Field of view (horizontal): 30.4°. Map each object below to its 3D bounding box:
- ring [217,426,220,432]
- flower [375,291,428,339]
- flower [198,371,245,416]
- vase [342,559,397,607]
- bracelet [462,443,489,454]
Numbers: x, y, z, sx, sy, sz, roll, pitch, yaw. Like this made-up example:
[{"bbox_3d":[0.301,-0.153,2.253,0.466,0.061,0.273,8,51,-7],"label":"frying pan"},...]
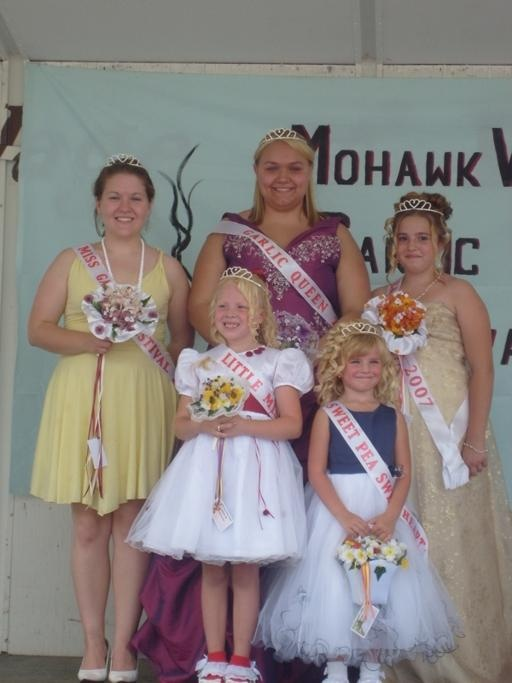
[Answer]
[{"bbox_3d":[-0.101,0.235,2.550,0.006,0.017,0.018,-2,17,-8],"label":"ring"},{"bbox_3d":[0.435,-0.083,2.874,0.151,0.129,0.051,1,-28,1],"label":"flower"},{"bbox_3d":[-0.090,0.142,2.498,0.117,0.105,0.041,-38,-19,-18],"label":"flower"},{"bbox_3d":[0.306,0.632,2.463,0.152,0.091,0.124,-1,-13,12],"label":"vase"},{"bbox_3d":[0.677,0.333,2.936,0.044,0.015,0.039,25,4,16],"label":"bracelet"}]
